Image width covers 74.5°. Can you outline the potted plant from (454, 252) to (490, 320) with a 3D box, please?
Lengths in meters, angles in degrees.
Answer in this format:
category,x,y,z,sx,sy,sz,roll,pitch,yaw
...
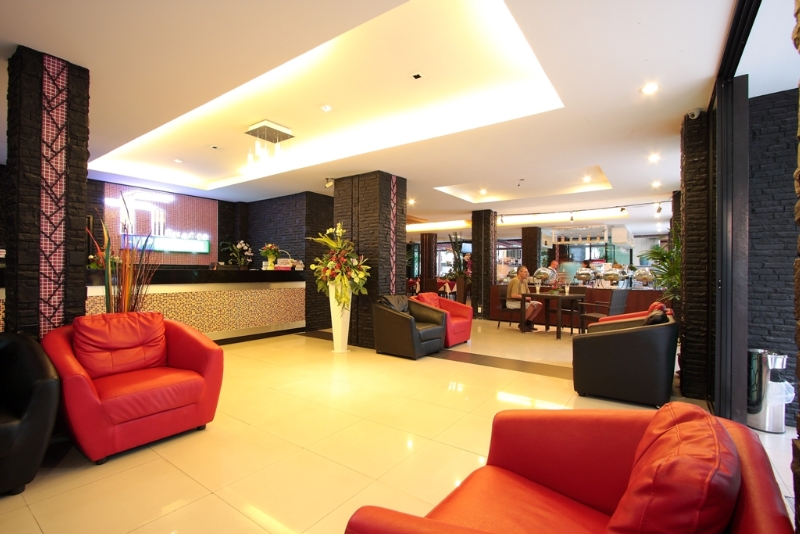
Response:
category,x,y,z,sx,sy,sz,roll,pitch,yaw
potted plant,1.484,0.316,11.935,0.718,1.131,0.730,18,5,23

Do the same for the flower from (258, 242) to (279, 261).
category,x,y,z,sx,sy,sz,roll,pitch,yaw
flower,-2.582,-0.309,10.394,0.425,0.419,0.414,-2,-3,-9

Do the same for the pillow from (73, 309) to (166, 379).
category,x,y,z,sx,sy,sz,roll,pitch,yaw
pillow,-2.777,0.766,5.234,1.049,0.722,0.528,7,-13,-44

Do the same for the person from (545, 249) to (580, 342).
category,x,y,z,sx,sy,sz,roll,pitch,yaw
person,2.773,0.477,8.843,0.475,1.517,0.823,1,5,17

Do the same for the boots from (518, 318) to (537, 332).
category,x,y,z,sx,sy,sz,roll,pitch,yaw
boots,2.317,1.094,9.935,0.473,0.321,0.171,-3,-2,11

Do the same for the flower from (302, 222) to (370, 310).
category,x,y,z,sx,sy,sz,roll,pitch,yaw
flower,-0.973,0.043,8.484,0.915,1.368,0.946,-5,10,18

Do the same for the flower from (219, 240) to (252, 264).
category,x,y,z,sx,sy,sz,roll,pitch,yaw
flower,-3.497,-0.310,11.253,0.572,0.471,0.573,2,3,22

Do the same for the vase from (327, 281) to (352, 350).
category,x,y,z,sx,sy,sz,roll,pitch,yaw
vase,-0.973,0.747,8.263,0.329,1.073,0.411,-1,5,-6

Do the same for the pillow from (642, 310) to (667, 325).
category,x,y,z,sx,sy,sz,roll,pitch,yaw
pillow,2.857,0.568,5.886,0.228,0.136,0.258,2,5,25

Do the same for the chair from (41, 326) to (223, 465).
category,x,y,z,sx,sy,sz,roll,pitch,yaw
chair,-2.731,1.149,5.356,1.411,1.069,1.478,7,10,38

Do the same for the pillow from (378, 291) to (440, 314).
category,x,y,z,sx,sy,sz,roll,pitch,yaw
pillow,0.058,0.545,8.159,0.605,0.569,0.450,-3,-4,41

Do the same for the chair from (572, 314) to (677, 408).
category,x,y,z,sx,sy,sz,roll,pitch,yaw
chair,2.805,1.015,6.405,1.357,0.931,1.392,-5,2,22
